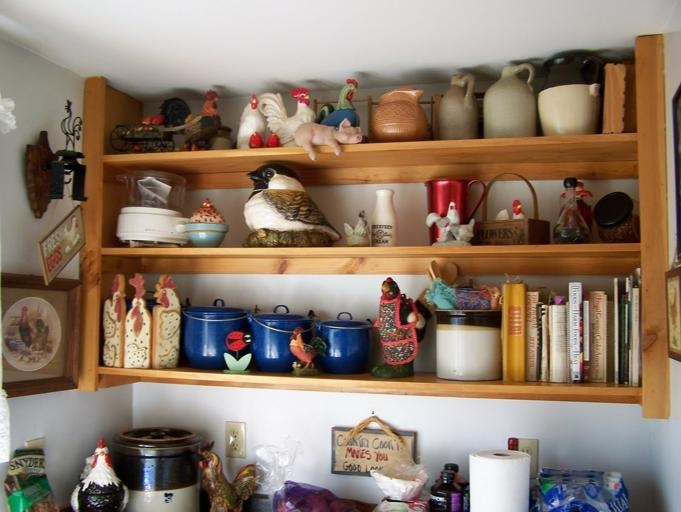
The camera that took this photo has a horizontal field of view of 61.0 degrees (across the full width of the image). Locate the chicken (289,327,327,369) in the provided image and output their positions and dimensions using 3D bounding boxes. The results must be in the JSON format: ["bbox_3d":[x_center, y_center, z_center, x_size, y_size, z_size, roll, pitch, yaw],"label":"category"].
[{"bbox_3d":[-0.103,0.286,1.791,0.125,0.107,0.067,5,-8,-16],"label":"chicken"}]

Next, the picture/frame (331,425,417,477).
[{"bbox_3d":[0.105,0.642,1.870,0.280,0.139,0.029,-4,-13,24],"label":"picture/frame"}]

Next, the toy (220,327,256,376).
[{"bbox_3d":[-0.321,0.302,1.818,0.104,0.129,0.054,-4,-2,25],"label":"toy"}]

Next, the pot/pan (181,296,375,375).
[{"bbox_3d":[-0.231,0.222,1.924,0.428,0.268,0.348,-1,-3,17],"label":"pot/pan"}]

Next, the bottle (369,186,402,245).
[{"bbox_3d":[0.130,-0.119,1.788,0.079,0.186,0.070,-3,-6,22],"label":"bottle"}]

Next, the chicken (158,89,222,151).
[{"bbox_3d":[-0.475,-0.443,1.888,0.209,0.182,0.067,2,8,16],"label":"chicken"}]

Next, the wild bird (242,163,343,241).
[{"bbox_3d":[-0.152,-0.164,1.800,0.297,0.277,0.106,-1,-5,-1],"label":"wild bird"}]

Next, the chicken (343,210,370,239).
[{"bbox_3d":[0.046,-0.103,1.819,0.107,0.090,0.073,-3,0,-1],"label":"chicken"}]

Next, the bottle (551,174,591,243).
[{"bbox_3d":[0.656,-0.129,1.652,0.089,0.186,0.051,-3,-6,26],"label":"bottle"}]

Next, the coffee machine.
[{"bbox_3d":[-0.602,-0.152,1.879,0.254,0.250,0.236,0,9,-15],"label":"coffee machine"}]

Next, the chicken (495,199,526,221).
[{"bbox_3d":[0.503,-0.136,1.765,0.113,0.093,0.073,-2,3,11],"label":"chicken"}]

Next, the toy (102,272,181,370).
[{"bbox_3d":[-0.638,0.229,1.845,0.206,0.325,0.133,3,9,-2],"label":"toy"}]

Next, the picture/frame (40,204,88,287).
[{"bbox_3d":[-0.821,-0.037,1.724,0.244,0.161,0.010,-35,-32,27],"label":"picture/frame"}]

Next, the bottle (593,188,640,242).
[{"bbox_3d":[0.787,-0.110,1.651,0.117,0.146,0.059,-3,-5,20],"label":"bottle"}]

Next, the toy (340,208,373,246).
[{"bbox_3d":[0.053,-0.077,1.792,0.088,0.099,0.081,-3,3,-26],"label":"toy"}]

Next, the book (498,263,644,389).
[{"bbox_3d":[0.648,0.201,1.639,0.370,0.315,0.098,-2,-5,12],"label":"book"}]

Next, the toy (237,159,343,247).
[{"bbox_3d":[-0.145,-0.178,1.844,0.290,0.251,0.282,5,9,27],"label":"toy"}]

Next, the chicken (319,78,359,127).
[{"bbox_3d":[0.010,-0.450,1.765,0.121,0.161,0.107,10,13,36],"label":"chicken"}]

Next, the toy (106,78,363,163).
[{"bbox_3d":[-0.242,-0.407,1.773,0.816,0.249,0.414,5,10,19],"label":"toy"}]

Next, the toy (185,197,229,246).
[{"bbox_3d":[-0.418,-0.104,1.844,0.162,0.164,0.149,-1,-7,-1],"label":"toy"}]

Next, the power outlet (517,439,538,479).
[{"bbox_3d":[0.586,0.635,1.811,0.018,0.119,0.076,11,-15,13],"label":"power outlet"}]

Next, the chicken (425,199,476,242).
[{"bbox_3d":[0.326,-0.096,1.708,0.140,0.135,0.087,-2,-5,10],"label":"chicken"}]
